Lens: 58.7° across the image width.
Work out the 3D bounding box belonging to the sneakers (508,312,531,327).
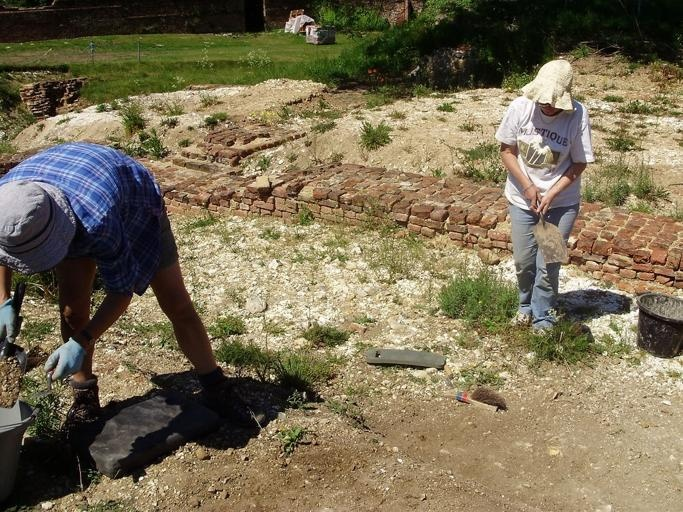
[{"bbox_3d":[1.586,0.570,5.372,0.114,0.062,0.148,-9,19,20],"label":"sneakers"}]

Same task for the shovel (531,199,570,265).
[{"bbox_3d":[1.780,-0.170,4.967,0.171,0.493,0.465,-11,-13,13],"label":"shovel"}]

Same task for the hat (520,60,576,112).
[{"bbox_3d":[1.647,-1.379,4.772,0.381,0.273,0.414,25,17,-14],"label":"hat"}]

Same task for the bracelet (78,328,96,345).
[{"bbox_3d":[-1.559,0.503,3.784,0.061,0.115,0.107,14,9,-5],"label":"bracelet"}]
